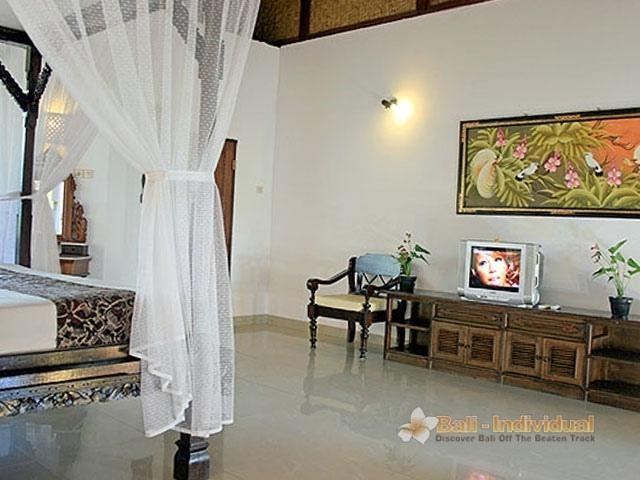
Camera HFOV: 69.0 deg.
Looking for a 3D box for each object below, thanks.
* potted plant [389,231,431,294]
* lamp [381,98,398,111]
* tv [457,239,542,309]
[{"bbox_3d":[0.984,0.241,5.174,0.572,0.733,0.598,0,1,23],"label":"potted plant"},{"bbox_3d":[0.817,-1.654,5.592,0.208,0.132,0.148,3,1,32],"label":"lamp"},{"bbox_3d":[1.718,0.201,4.631,0.984,0.800,0.538,2,5,33],"label":"tv"}]
